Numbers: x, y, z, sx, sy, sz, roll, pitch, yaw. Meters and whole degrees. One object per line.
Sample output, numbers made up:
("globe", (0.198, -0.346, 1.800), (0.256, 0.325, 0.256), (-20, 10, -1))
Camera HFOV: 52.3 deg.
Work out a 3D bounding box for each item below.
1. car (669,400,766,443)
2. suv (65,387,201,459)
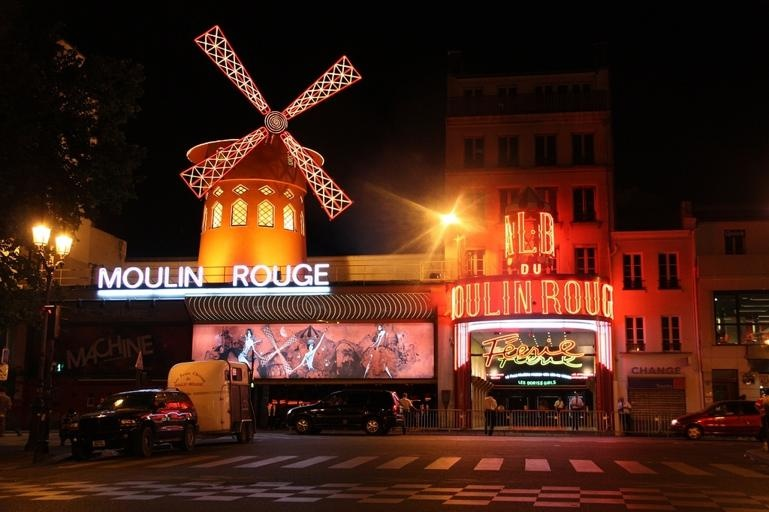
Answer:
("car", (13.670, 6.858, 32.536), (3.029, 1.195, 1.666), (2, -9, 11))
("suv", (-7.570, 5.146, 24.053), (1.766, 2.048, 3.533), (-9, -16, 38))
